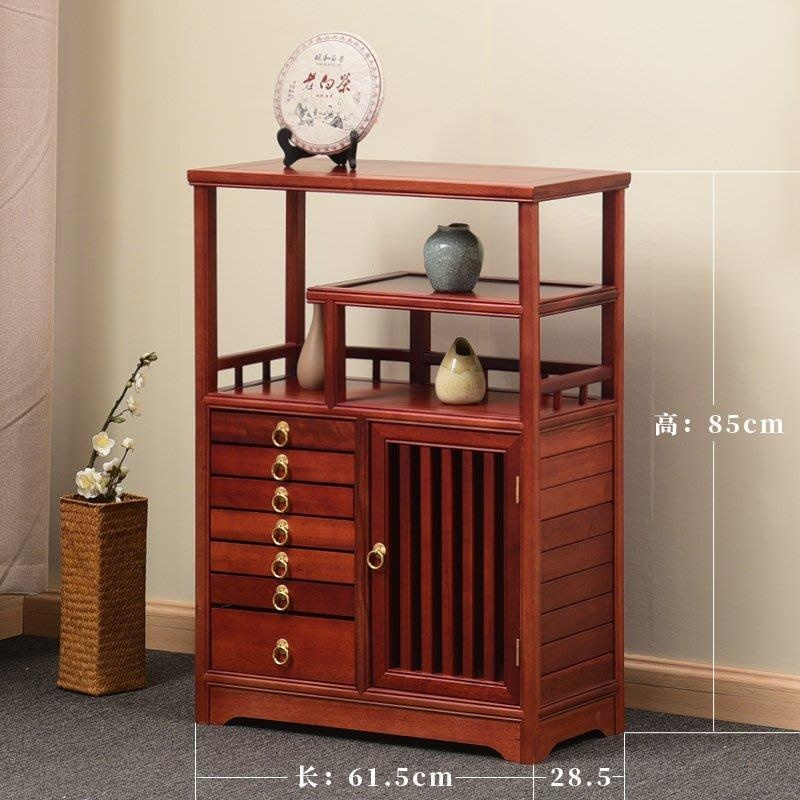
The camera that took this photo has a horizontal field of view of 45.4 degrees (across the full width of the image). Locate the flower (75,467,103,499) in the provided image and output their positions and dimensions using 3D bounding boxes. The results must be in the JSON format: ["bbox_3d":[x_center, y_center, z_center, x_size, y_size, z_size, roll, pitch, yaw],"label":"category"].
[{"bbox_3d":[-0.720,0.195,2.217,0.071,0.076,0.036,8,-9,-39],"label":"flower"}]

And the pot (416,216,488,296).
[{"bbox_3d":[0.101,-0.271,1.831,0.108,0.138,0.074,0,2,2],"label":"pot"}]

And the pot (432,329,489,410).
[{"bbox_3d":[0.117,-0.057,1.866,0.093,0.132,0.111,0,2,4],"label":"pot"}]
